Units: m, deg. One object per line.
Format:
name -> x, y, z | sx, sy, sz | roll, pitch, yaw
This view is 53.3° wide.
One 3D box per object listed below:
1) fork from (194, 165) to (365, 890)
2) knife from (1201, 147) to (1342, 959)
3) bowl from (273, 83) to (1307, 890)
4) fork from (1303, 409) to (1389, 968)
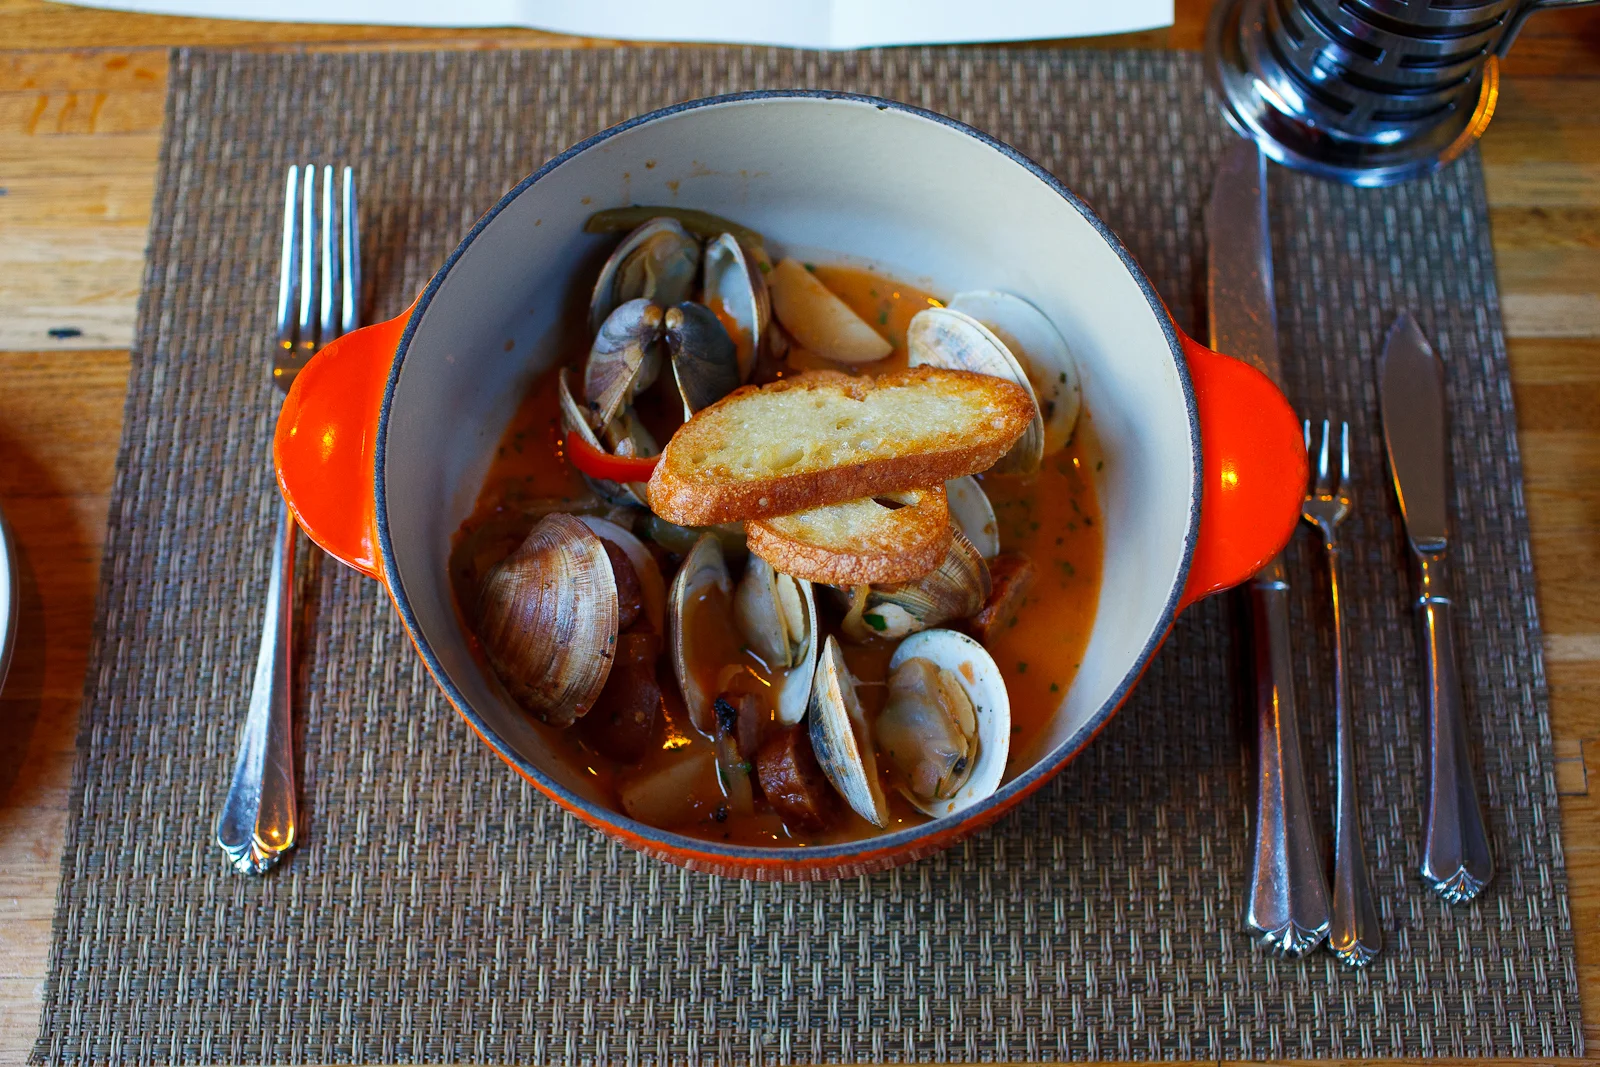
fork -> -0.570, 0.018, 1.728 | 0.088, 0.071, 0.886 | 1, 82, 0
knife -> 0.497, 0.009, 1.713 | 0.078, 0.039, 0.867 | 0, 81, 2
bowl -> -0.008, -0.069, 1.610 | 0.839, 0.183, 0.828 | 0, 79, -2
fork -> 0.579, 0.160, 1.686 | 0.057, 0.032, 0.577 | 2, 76, -2
